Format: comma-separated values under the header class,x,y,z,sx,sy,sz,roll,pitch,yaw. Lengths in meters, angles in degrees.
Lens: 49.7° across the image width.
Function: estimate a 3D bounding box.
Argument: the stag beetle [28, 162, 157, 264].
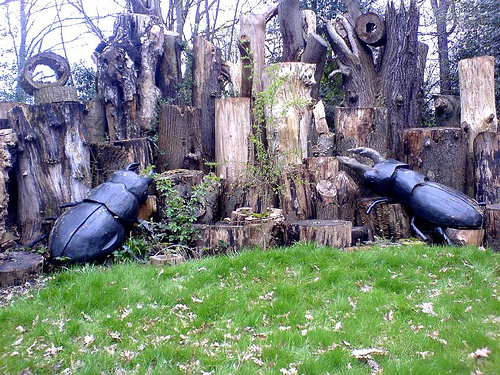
class,x,y,z,sx,sy,sz,roll,pitch,yaw
stag beetle,-2.500,0.475,9.065,1.636,1.473,0.682,-2,1,-25
